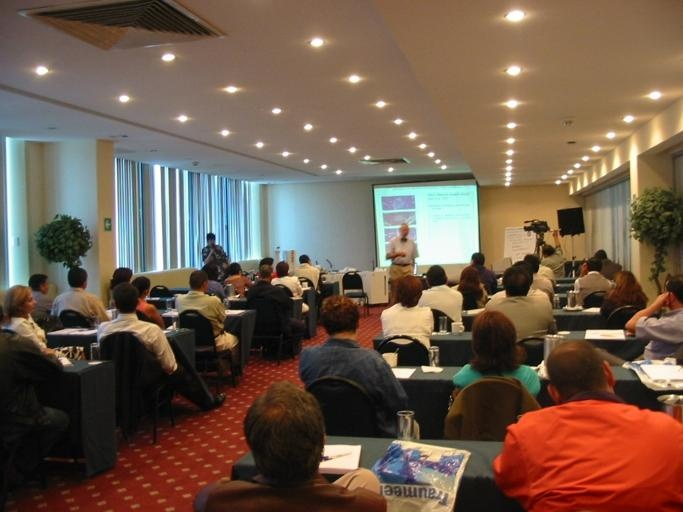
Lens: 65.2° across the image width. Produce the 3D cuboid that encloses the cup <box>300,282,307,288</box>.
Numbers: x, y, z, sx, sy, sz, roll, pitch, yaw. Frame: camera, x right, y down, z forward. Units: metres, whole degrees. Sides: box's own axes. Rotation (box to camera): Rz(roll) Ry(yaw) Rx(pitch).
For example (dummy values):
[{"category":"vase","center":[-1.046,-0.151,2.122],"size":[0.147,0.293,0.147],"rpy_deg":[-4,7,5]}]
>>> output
[{"category":"cup","center":[-0.719,0.545,9.988],"size":[0.076,0.079,0.076],"rpy_deg":[0,-2,0]}]

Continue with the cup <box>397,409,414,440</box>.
[{"category":"cup","center":[0.332,0.880,2.774],"size":[0.080,0.200,0.215],"rpy_deg":[1,3,8]}]

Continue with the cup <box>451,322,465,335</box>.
[{"category":"cup","center":[1.141,0.721,5.315],"size":[0.140,0.099,0.100],"rpy_deg":[2,3,38]}]
